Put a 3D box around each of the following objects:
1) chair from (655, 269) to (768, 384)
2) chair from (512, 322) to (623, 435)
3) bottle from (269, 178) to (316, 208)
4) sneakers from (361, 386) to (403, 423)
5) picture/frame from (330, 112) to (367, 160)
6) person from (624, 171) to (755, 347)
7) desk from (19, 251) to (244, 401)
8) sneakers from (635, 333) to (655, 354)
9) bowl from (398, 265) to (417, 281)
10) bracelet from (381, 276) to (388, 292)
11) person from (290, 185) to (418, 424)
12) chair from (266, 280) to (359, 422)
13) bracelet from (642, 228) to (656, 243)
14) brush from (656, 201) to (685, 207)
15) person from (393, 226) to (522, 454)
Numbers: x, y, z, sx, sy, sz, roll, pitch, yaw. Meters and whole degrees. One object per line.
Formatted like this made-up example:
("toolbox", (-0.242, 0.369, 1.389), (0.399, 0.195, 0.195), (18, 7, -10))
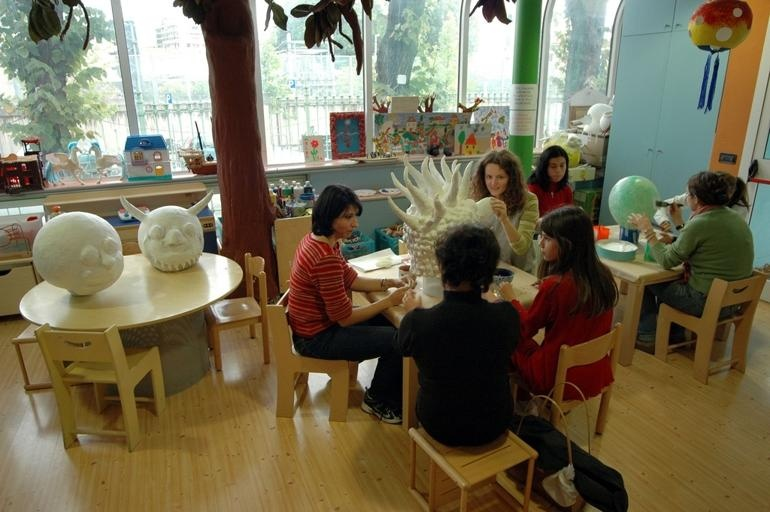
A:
("chair", (2.462, 0.551, 4.157), (0.463, 0.795, 0.527), (-16, 30, -16))
("chair", (1.127, 0.779, 3.442), (0.465, 0.800, 0.527), (-11, 33, -9))
("bottle", (-0.944, -0.622, 5.431), (0.465, 0.482, 0.250), (-6, 14, -20))
("sneakers", (-0.026, 1.093, 3.902), (0.339, 0.165, 0.138), (25, 24, 25))
("picture/frame", (-0.433, -1.360, 6.097), (0.492, 0.636, 0.043), (-6, 15, -20))
("person", (2.355, 0.074, 4.209), (0.797, 1.440, 0.445), (11, 21, 35))
("desk", (-1.755, 0.291, 3.884), (1.117, 0.706, 1.147), (-18, 29, -35))
("sneakers", (2.134, 0.726, 4.463), (0.139, 0.144, 0.145), (-6, -5, 32))
("bowl", (0.150, 0.119, 3.717), (0.094, 0.080, 0.091), (0, 15, 0))
("bracelet", (-0.013, 0.195, 3.695), (0.044, 0.073, 0.065), (0, 12, -1))
("person", (-0.216, 0.369, 3.835), (0.877, 1.657, 0.632), (-2, 12, -1))
("chair", (-0.510, 0.613, 4.226), (0.786, 1.204, 0.827), (-2, 18, -5))
("bracelet", (2.054, -0.149, 4.237), (0.121, 0.056, 0.092), (-50, 19, -6))
("brush", (2.248, -0.414, 4.317), (0.220, 0.070, 0.052), (0, 17, -13))
("person", (0.394, 0.451, 2.952), (0.646, 1.214, 0.257), (-1, 17, 1))
